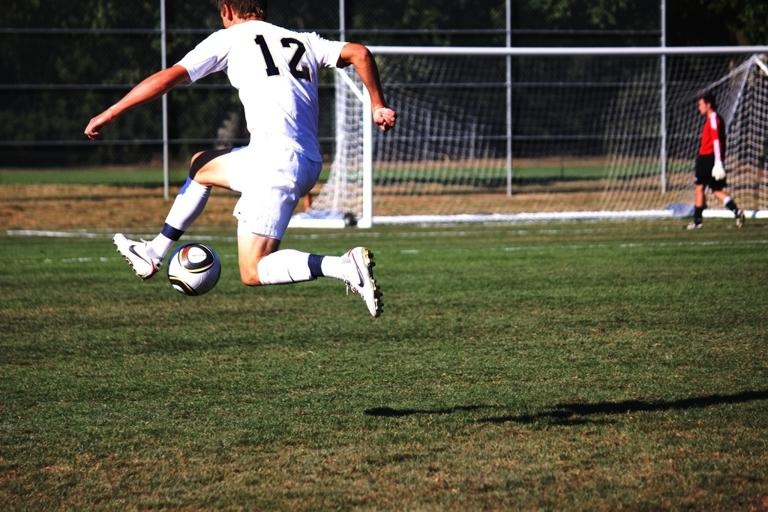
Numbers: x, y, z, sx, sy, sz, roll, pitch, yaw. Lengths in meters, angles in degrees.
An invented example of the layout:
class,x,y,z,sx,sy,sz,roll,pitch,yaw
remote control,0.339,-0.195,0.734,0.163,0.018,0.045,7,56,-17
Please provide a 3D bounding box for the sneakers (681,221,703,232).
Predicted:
class,x,y,z,sx,sy,sz,roll,pitch,yaw
sneakers,5.854,-0.523,24.629,0.424,0.180,0.147,2,5,-27

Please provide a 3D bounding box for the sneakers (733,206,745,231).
class,x,y,z,sx,sy,sz,roll,pitch,yaw
sneakers,6.649,-0.614,24.616,0.274,0.559,0.216,3,29,13

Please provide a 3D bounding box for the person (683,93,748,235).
class,x,y,z,sx,sy,sz,roll,pitch,yaw
person,6.229,-1.739,24.643,1.025,2.590,1.034,3,5,28
